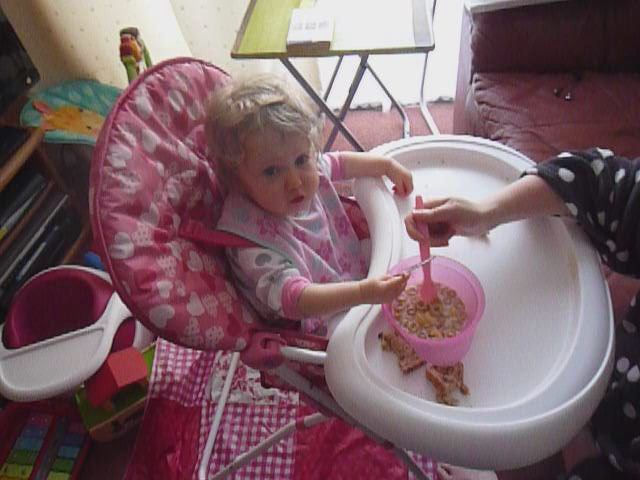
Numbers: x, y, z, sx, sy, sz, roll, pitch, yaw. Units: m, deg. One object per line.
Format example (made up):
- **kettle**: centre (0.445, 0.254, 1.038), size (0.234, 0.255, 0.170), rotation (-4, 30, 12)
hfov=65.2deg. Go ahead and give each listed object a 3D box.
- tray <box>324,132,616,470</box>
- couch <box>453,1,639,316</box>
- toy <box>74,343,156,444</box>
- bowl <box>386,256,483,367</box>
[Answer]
- **tray**: centre (0.370, 0.093, 1.252), size (0.643, 0.203, 0.838), rotation (4, 51, 14)
- **couch**: centre (0.815, -0.258, 2.363), size (0.723, 0.855, 1.423), rotation (1, 83, 9)
- **toy**: centre (-0.728, 0.535, 1.758), size (0.165, 0.223, 0.231), rotation (33, 45, 17)
- **bowl**: centre (0.272, 0.154, 1.235), size (0.228, 0.260, 0.109), rotation (-26, 22, 21)
